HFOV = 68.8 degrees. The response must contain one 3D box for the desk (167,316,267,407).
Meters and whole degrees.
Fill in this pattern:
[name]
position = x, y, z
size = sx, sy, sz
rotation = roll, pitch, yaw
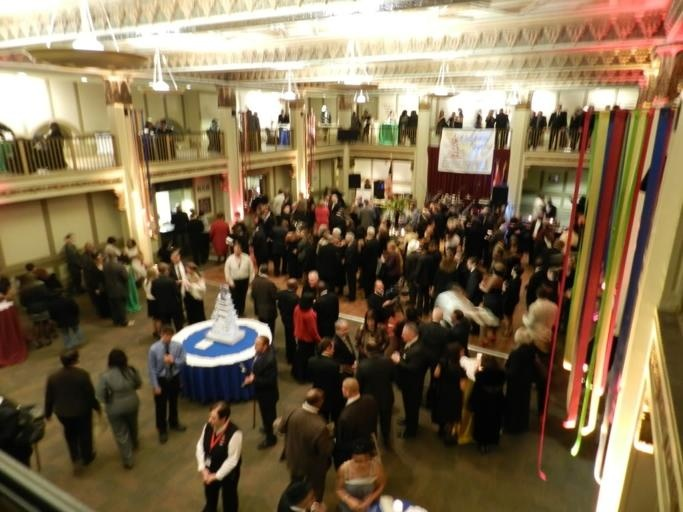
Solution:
[desk]
position = -2.145, 1.698, 8.124
size = 1.167, 0.556, 1.257
rotation = 8, 24, 4
